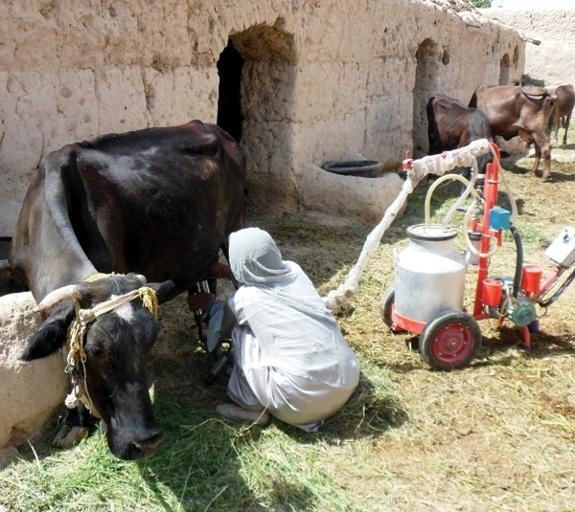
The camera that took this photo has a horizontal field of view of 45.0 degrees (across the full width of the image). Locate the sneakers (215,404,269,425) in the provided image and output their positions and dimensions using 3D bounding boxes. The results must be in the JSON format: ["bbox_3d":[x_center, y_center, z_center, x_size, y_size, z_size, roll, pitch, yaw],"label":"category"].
[{"bbox_3d":[-0.279,0.947,4.213,0.226,0.057,0.136,6,1,16],"label":"sneakers"}]

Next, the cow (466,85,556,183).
[{"bbox_3d":[3.669,-2.261,11.788,0.566,1.369,2.318,-27,28,-27],"label":"cow"}]

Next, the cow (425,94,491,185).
[{"bbox_3d":[2.266,-1.652,9.994,1.350,0.950,0.450,10,1,-25],"label":"cow"}]

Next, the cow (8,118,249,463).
[{"bbox_3d":[-1.127,0.075,4.856,0.872,1.649,2.948,2,20,22],"label":"cow"}]

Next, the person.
[{"bbox_3d":[-0.113,0.419,4.504,0.839,1.113,1.343,-15,30,-39],"label":"person"}]
